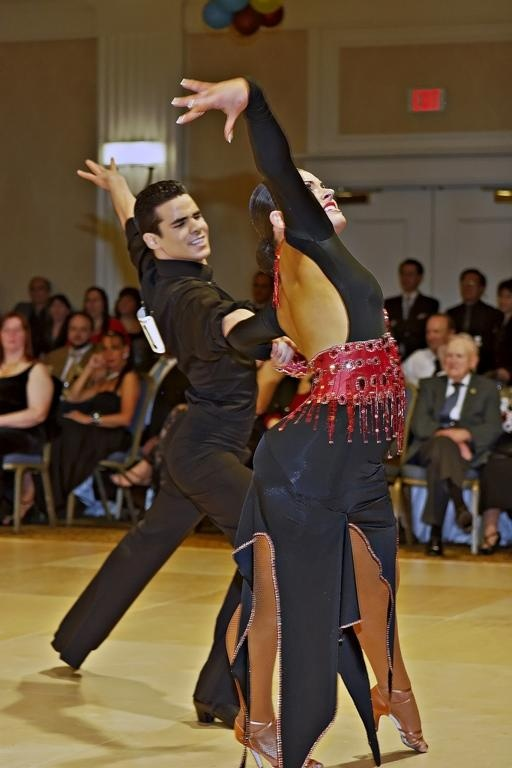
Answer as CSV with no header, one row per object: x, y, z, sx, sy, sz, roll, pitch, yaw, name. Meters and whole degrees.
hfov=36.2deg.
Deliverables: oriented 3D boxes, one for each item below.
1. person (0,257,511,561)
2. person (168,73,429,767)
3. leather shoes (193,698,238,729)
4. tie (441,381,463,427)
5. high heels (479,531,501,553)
-0.107,0.142,2.916,2.100,0.675,0.442,0,-5,-2,person
0.102,0.131,1.392,0.367,1.195,0.625,-1,-5,11,person
-0.095,0.748,1.790,0.136,0.045,0.047,-2,1,24,leather shoes
1.143,0.127,4.638,0.187,0.224,0.100,-4,-11,26,tie
1.298,0.897,4.410,0.067,0.069,0.189,-9,2,43,high heels
